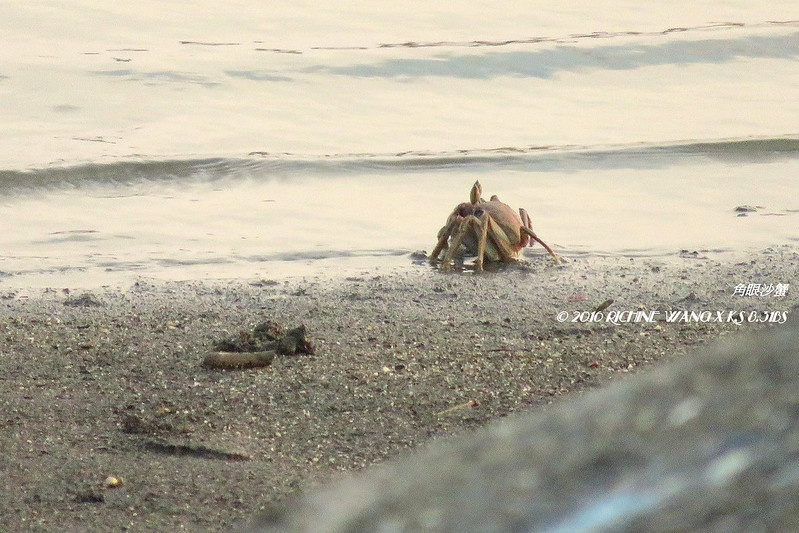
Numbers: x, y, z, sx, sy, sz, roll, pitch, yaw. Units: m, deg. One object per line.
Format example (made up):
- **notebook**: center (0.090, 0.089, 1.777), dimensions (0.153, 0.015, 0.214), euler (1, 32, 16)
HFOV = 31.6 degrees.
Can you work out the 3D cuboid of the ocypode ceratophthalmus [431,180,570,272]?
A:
- **ocypode ceratophthalmus**: center (0.921, -0.412, 13.826), dimensions (1.190, 0.567, 0.879), euler (1, 14, 4)
